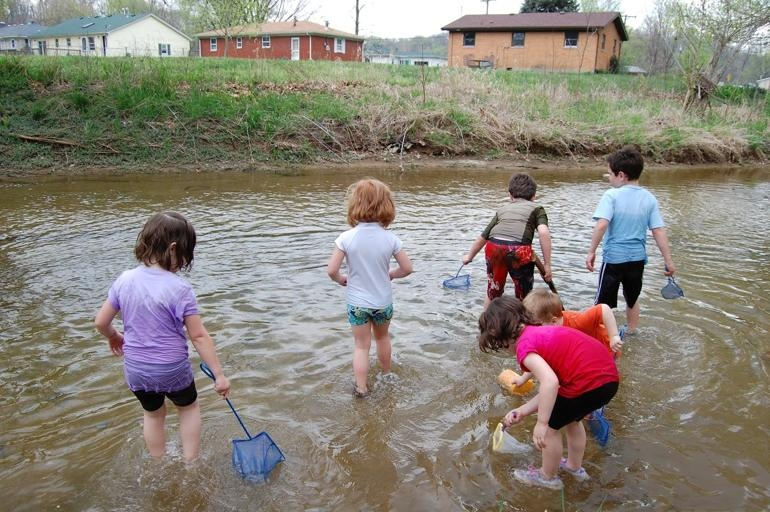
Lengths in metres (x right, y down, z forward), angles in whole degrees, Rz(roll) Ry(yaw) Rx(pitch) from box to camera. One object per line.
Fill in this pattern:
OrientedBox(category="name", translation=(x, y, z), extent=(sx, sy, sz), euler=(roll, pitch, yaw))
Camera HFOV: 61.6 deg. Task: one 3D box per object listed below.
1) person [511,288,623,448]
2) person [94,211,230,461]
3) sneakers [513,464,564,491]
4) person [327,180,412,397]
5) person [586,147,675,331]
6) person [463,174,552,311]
OrientedBox(category="person", translation=(1.716, 1.135, 6.122), extent=(0.916, 1.514, 0.718), euler=(-26, 11, 38))
OrientedBox(category="person", translation=(-2.053, 0.779, 6.022), extent=(1.166, 2.336, 0.435), euler=(2, 15, 2))
OrientedBox(category="sneakers", translation=(1.456, 2.082, 6.126), extent=(0.465, 0.183, 0.175), euler=(10, -5, 15))
OrientedBox(category="person", translation=(-0.178, 0.338, 6.918), extent=(0.838, 2.275, 0.548), euler=(-3, 15, -15))
OrientedBox(category="person", translation=(2.852, -0.151, 7.597), extent=(0.954, 2.238, 0.483), euler=(1, 15, 1))
OrientedBox(category="person", translation=(1.549, -0.127, 7.685), extent=(0.898, 1.612, 0.673), euler=(-1, 15, -6))
